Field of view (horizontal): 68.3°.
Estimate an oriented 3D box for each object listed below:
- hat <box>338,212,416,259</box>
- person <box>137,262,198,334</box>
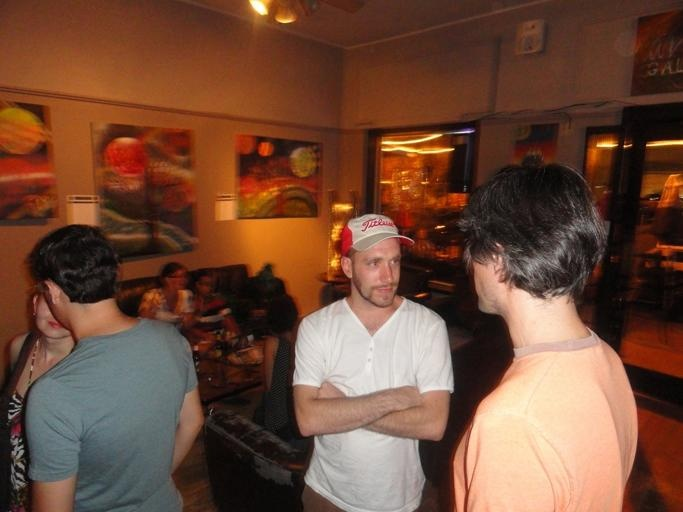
[{"bbox_3d":[0.152,-0.078,2.503,0.237,0.136,0.302,-8,-2,-39],"label":"hat"},{"bbox_3d":[-1.527,0.367,4.417,0.552,0.766,0.464,9,-18,-44],"label":"person"}]
